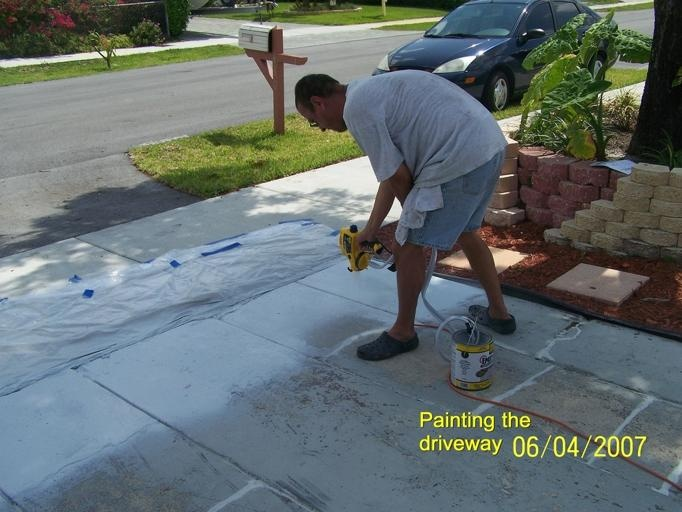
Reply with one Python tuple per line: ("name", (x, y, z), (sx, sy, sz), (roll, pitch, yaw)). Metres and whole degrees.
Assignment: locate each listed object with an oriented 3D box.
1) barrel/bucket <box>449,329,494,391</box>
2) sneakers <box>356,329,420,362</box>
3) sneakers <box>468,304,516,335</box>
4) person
("barrel/bucket", (0.803, 0.640, 3.002), (0.285, 0.252, 0.266), (0, 6, 0))
("sneakers", (0.317, 0.593, 3.317), (0.403, 0.114, 0.172), (-7, 15, -15))
("sneakers", (1.096, 0.468, 3.570), (0.144, 0.098, 0.354), (-28, 34, -21))
("person", (0.500, -0.282, 3.253), (1.175, 1.816, 0.810), (-12, 31, -11))
